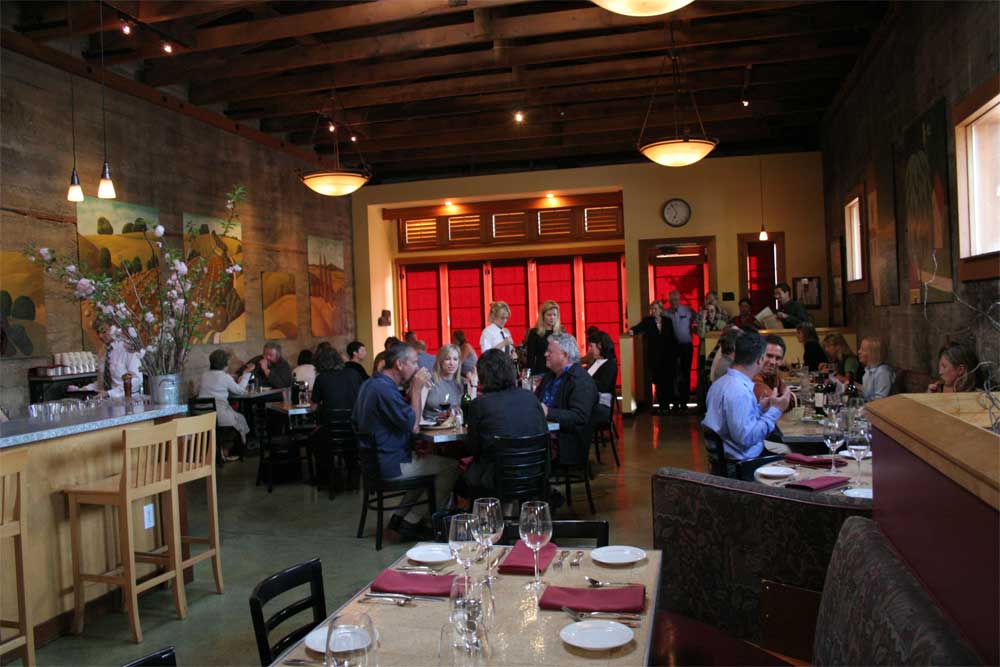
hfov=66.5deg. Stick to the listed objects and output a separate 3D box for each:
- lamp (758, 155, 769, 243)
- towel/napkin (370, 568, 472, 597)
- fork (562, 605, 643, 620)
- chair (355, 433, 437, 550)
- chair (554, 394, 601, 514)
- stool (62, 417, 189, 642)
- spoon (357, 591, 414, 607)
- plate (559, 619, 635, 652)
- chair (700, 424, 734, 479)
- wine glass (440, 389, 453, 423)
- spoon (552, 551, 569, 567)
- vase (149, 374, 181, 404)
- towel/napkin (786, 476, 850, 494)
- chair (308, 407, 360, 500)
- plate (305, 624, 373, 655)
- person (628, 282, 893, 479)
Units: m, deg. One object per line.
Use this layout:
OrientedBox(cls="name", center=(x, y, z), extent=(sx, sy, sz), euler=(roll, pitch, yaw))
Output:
OrientedBox(cls="lamp", center=(4.426, -2.285, 12.914), extent=(0.133, 1.462, 0.364), euler=(-4, -1, 22))
OrientedBox(cls="towel/napkin", center=(-0.380, 1.230, 3.745), extent=(0.333, 0.063, 0.255), euler=(1, 0, 6))
OrientedBox(cls="fork", center=(0.486, 1.310, 3.575), extent=(0.307, 0.048, 0.055), euler=(0, 5, 1))
OrientedBox(cls="chair", center=(-0.947, 1.400, 6.956), extent=(0.660, 0.980, 0.668), euler=(-2, -1, -15))
OrientedBox(cls="chair", center=(0.764, 1.210, 7.413), extent=(0.551, 0.898, 0.586), euler=(-4, -14, 12))
OrientedBox(cls="stool", center=(-2.694, 1.422, 5.689), extent=(0.705, 1.359, 0.717), euler=(-4, -1, 17))
OrientedBox(cls="spoon", center=(-0.568, 1.306, 3.756), extent=(0.292, 0.057, 0.089), euler=(-2, 21, 13))
OrientedBox(cls="plate", center=(0.436, 1.362, 3.420), extent=(0.277, 0.127, 0.229), euler=(-3, -2, -39))
OrientedBox(cls="chair", center=(1.673, 0.915, 6.011), extent=(0.328, 0.421, 0.292), euler=(-11, -1, 15))
OrientedBox(cls="wine glass", center=(-0.525, 0.732, 7.571), extent=(0.144, 0.217, 0.203), euler=(0, 1, 0))
OrientedBox(cls="spoon", center=(0.320, 1.202, 4.059), extent=(0.048, 0.040, 0.225), euler=(1, -2, 9))
OrientedBox(cls="vase", center=(-2.792, 0.460, 6.417), extent=(0.234, 0.268, 0.250), euler=(-3, -3, 29))
OrientedBox(cls="towel/napkin", center=(1.973, 0.936, 4.759), extent=(0.276, 0.055, 0.352), euler=(-5, -2, 45))
OrientedBox(cls="chair", center=(-1.896, 1.334, 8.537), extent=(0.547, 0.922, 0.516), euler=(-9, -5, 32))
OrientedBox(cls="plate", center=(-0.640, 1.234, 3.061), extent=(0.289, 0.062, 0.288), euler=(4, -1, -21))
OrientedBox(cls="person", center=(2.210, 0.473, 6.535), extent=(1.145, 2.072, 1.080), euler=(-3, 1, 4))
